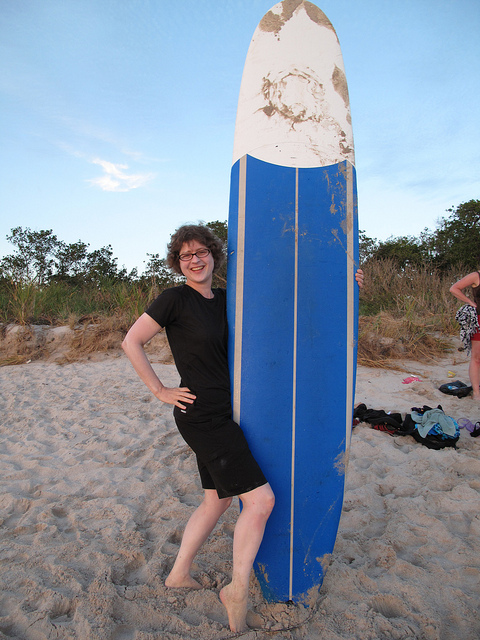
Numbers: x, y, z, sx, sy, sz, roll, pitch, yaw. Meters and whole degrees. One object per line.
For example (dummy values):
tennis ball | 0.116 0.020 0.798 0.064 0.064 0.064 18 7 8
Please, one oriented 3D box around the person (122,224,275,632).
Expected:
person | -0.111 0.362 1.863 0.553 1.479 0.439 2 5 17

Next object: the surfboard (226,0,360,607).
surfboard | 0.222 -0.123 2.006 0.556 2.429 0.506 1 4 -3

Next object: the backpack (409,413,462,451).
backpack | 1.386 0.774 3.364 0.223 0.090 0.234 1 4 34

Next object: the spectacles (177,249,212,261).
spectacles | -0.183 -0.255 1.863 0.119 0.047 0.051 1 5 -5
